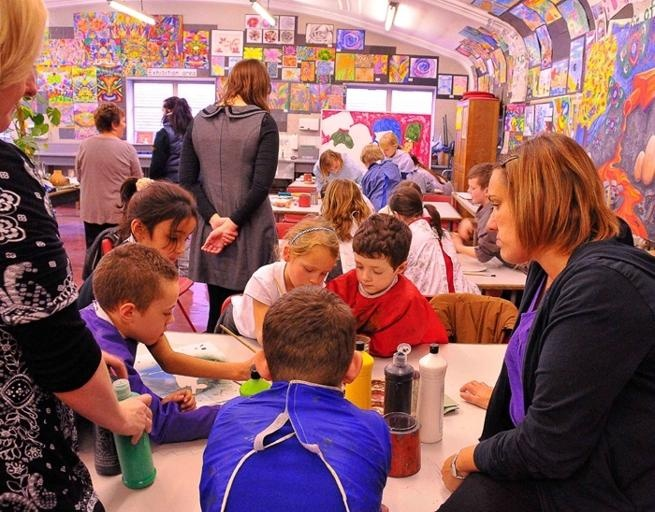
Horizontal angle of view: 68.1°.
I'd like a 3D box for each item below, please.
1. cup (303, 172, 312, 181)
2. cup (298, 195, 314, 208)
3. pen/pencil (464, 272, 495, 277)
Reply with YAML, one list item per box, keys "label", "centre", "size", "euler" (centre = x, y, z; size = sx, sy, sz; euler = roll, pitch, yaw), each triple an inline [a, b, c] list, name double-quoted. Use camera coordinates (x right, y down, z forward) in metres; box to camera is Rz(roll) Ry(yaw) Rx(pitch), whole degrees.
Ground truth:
- label: "cup"
  centre: [-0.314, -1.223, 7.547]
  size: [0.150, 0.176, 0.153]
  euler: [2, 14, 0]
- label: "cup"
  centre: [-0.226, -0.602, 5.311]
  size: [0.143, 0.142, 0.144]
  euler: [1, 18, 0]
- label: "pen/pencil"
  centre: [1.003, 0.121, 3.188]
  size: [0.217, 0.025, 0.026]
  euler: [1, 0, -10]
